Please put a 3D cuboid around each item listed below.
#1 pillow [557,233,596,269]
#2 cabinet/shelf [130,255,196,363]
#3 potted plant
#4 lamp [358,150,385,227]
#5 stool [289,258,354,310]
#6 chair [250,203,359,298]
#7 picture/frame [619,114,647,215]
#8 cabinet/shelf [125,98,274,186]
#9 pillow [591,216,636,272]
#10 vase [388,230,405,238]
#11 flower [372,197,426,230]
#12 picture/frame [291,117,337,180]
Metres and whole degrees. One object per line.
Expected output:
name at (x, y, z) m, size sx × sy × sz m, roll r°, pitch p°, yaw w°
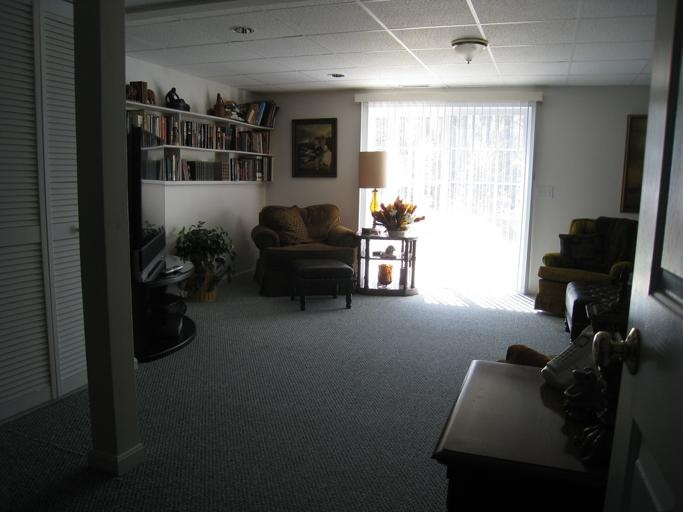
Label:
pillow at (2.426, -0.046, 4.955) m, size 0.333 × 0.346 × 0.103 m, roll 1°, pitch -5°, yaw 3°
cabinet/shelf at (-1.425, 0.394, 3.965) m, size 0.459 × 0.569 × 0.838 m, roll -4°, pitch 10°, yaw -24°
potted plant at (-1.449, 0.116, 5.181) m, size 0.446 × 0.684 × 0.632 m, roll 5°, pitch 22°, yaw -2°
lamp at (0.344, -0.859, 5.814) m, size 0.296 × 0.735 × 0.457 m, roll -1°, pitch 10°, yaw -8°
stool at (-0.211, 0.290, 5.208) m, size 0.645 × 0.443 × 0.669 m, roll 0°, pitch 11°, yaw -6°
chair at (-0.423, -0.141, 5.656) m, size 1.078 × 0.958 × 1.113 m, roll 0°, pitch 3°, yaw -8°
picture/frame at (3.307, -1.027, 5.535) m, size 0.214 × 1.109 × 0.174 m, roll 3°, pitch 10°, yaw 10°
cabinet/shelf at (-1.467, -1.257, 5.929) m, size 0.306 × 0.709 × 2.006 m, roll 11°, pitch 12°, yaw 26°
pillow at (2.791, -0.145, 4.981) m, size 0.187 × 0.576 × 0.524 m, roll 9°, pitch -2°, yaw -31°
vase at (0.629, -0.244, 5.610) m, size 0.190 × 0.099 × 0.086 m, roll 2°, pitch 10°, yaw 5°
flower at (0.639, -0.465, 5.757) m, size 0.427 × 0.333 × 0.461 m, roll 3°, pitch 3°, yaw 17°
picture/frame at (-0.342, -1.445, 6.481) m, size 0.700 × 0.872 × 0.059 m, roll 4°, pitch 15°, yaw 13°
